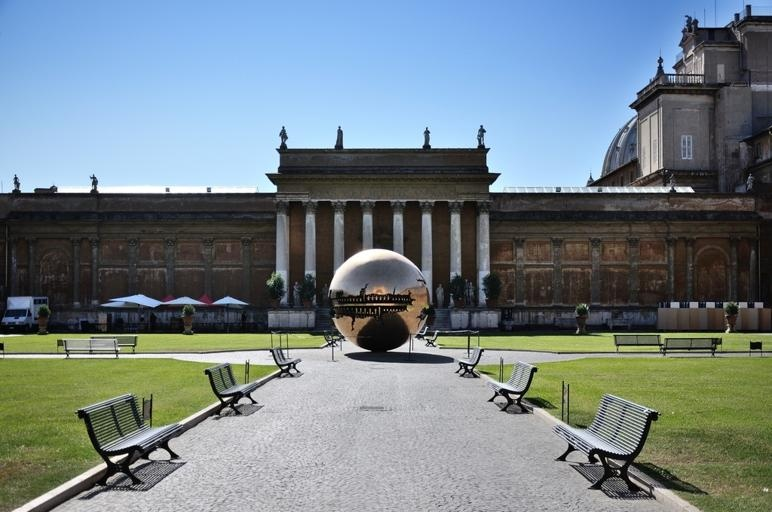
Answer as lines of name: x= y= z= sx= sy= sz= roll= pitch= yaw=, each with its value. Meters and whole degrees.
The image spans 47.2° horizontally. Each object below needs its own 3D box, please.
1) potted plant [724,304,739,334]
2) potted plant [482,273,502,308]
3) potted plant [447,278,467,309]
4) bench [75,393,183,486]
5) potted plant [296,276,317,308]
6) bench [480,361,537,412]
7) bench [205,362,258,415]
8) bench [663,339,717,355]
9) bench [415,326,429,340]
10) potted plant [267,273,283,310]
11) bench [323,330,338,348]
potted plant: x=29.180 y=5.241 z=74.622 sx=1.022 sy=2.407 sz=1.313 roll=1 pitch=4 yaw=20
potted plant: x=9.754 y=3.173 z=80.858 sx=1.667 sy=3.097 sz=1.373 roll=0 pitch=4 yaw=5
potted plant: x=6.570 y=3.274 z=80.431 sx=1.340 sy=2.870 sz=1.342 roll=0 pitch=4 yaw=9
bench: x=-9.617 y=6.870 z=32.812 sx=1.716 sy=3.005 sz=2.918 roll=2 pitch=4 yaw=32
potted plant: x=-7.282 y=3.256 z=81.007 sx=1.656 sy=2.971 sz=1.792 roll=-1 pitch=4 yaw=-8
bench: x=5.570 y=5.721 z=39.092 sx=1.826 sy=1.828 sz=2.321 roll=-1 pitch=4 yaw=0
bench: x=-6.745 y=5.717 z=38.311 sx=1.445 sy=1.914 sz=2.374 roll=0 pitch=4 yaw=9
bench: x=18.641 y=5.546 z=54.079 sx=3.092 sy=1.148 sz=3.227 roll=1 pitch=4 yaw=23
bench: x=2.832 y=5.835 z=67.568 sx=0.540 sy=1.660 sz=0.628 roll=17 pitch=-25 yaw=14
potted plant: x=-10.028 y=3.177 z=80.863 sx=1.498 sy=3.112 sz=1.109 roll=-1 pitch=4 yaw=-7
bench: x=-3.847 y=5.745 z=60.691 sx=0.677 sy=0.695 sz=1.734 roll=-2 pitch=-1 yaw=6
